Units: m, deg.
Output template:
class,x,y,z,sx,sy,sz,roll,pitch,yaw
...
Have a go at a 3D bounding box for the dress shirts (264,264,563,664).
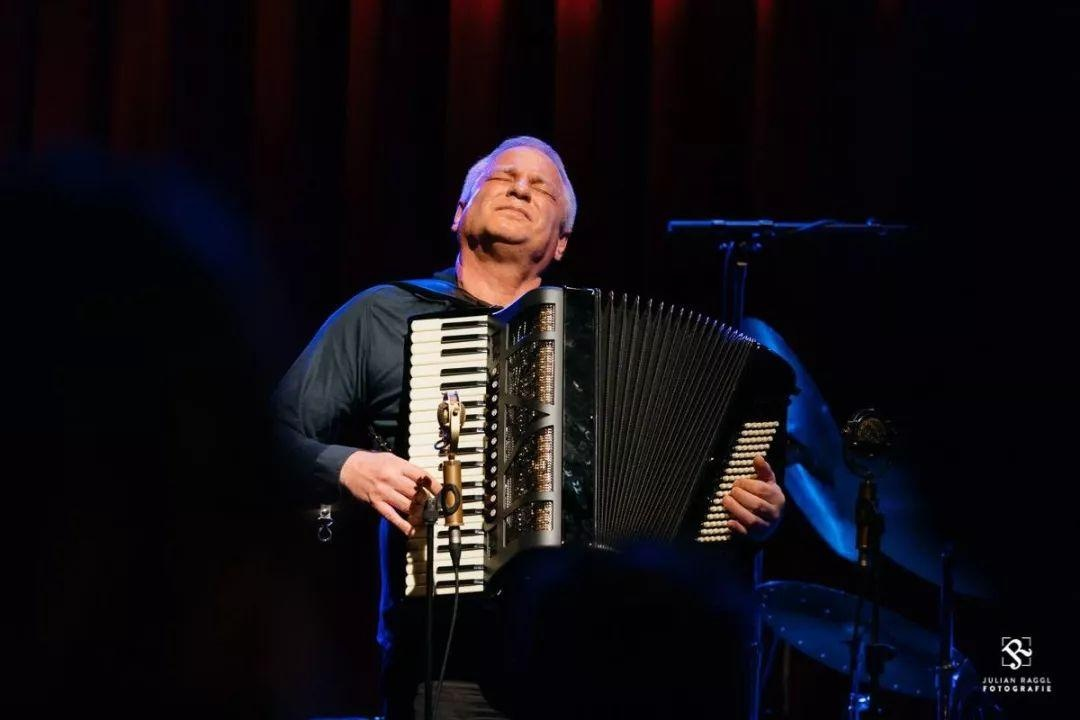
class,x,y,z,sx,sy,sz,roll,pitch,yaw
dress shirts,-0.632,0.389,6.981,0.401,1.505,1.104,15,3,-32
